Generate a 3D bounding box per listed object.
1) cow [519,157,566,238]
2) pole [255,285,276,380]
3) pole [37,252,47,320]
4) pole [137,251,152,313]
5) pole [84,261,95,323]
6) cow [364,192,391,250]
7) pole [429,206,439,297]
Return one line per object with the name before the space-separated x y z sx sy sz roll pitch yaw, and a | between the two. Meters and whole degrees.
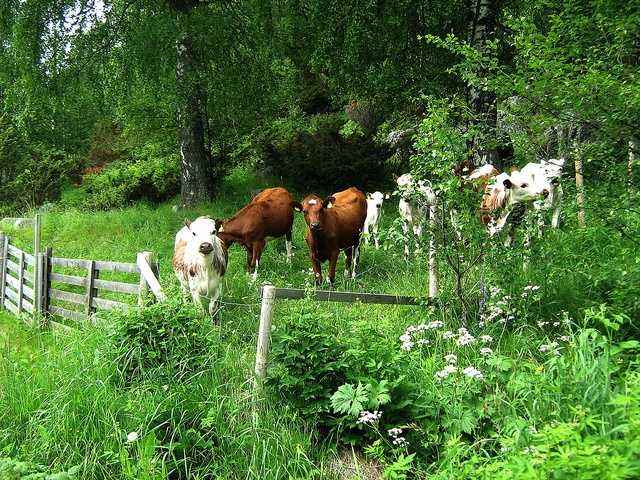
cow | 3.270 -0.679 8.471 0.591 1.202 3.373 -1 3 22
pole | -0.658 1.105 6.921 0.323 1.085 0.223 -3 3 -21
pole | -5.009 0.734 10.393 0.121 1.110 0.110 -10 -17 3
pole | -2.411 0.545 7.949 0.193 0.731 0.934 -3 3 -16
pole | -3.732 0.787 9.327 0.184 0.897 0.466 -3 3 -23
cow | 1.265 -0.545 13.316 0.484 1.150 0.896 -2 3 4
pole | 1.582 0.154 7.966 0.153 1.262 0.643 -2 3 10
